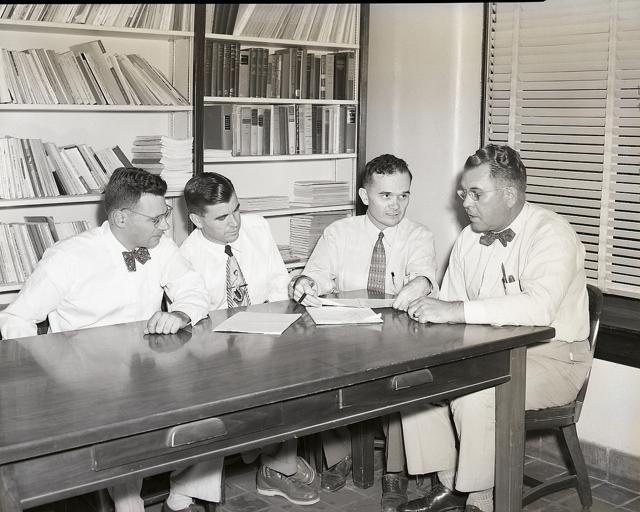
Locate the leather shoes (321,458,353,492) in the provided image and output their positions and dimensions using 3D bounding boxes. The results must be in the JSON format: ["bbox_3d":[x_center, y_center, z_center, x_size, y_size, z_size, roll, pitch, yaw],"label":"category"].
[{"bbox_3d":[0.080,1.118,2.614,0.082,0.070,0.183,3,3,27],"label":"leather shoes"}]

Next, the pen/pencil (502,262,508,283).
[{"bbox_3d":[0.816,0.075,2.245,0.015,0.090,0.016,-11,-23,28],"label":"pen/pencil"}]

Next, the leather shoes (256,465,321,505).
[{"bbox_3d":[-0.171,1.099,2.524,0.320,0.154,0.139,6,12,20],"label":"leather shoes"}]

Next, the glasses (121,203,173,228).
[{"bbox_3d":[-0.714,-0.161,2.085,0.130,0.040,0.129,20,8,9],"label":"glasses"}]

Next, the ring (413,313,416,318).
[{"bbox_3d":[0.372,0.236,2.014,0.016,0.015,0.016,2,-5,0],"label":"ring"}]
